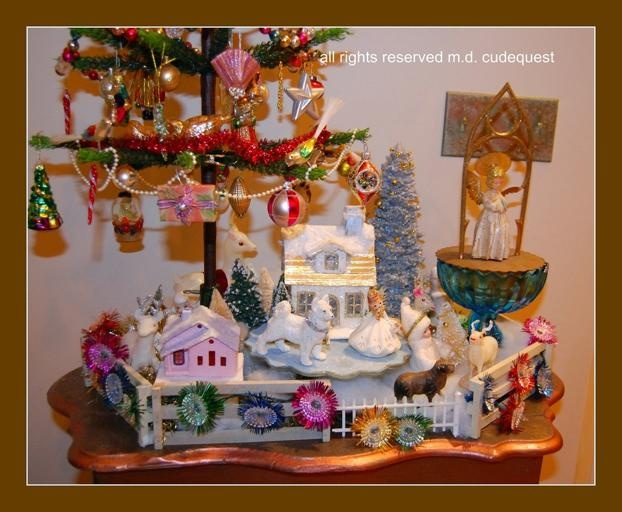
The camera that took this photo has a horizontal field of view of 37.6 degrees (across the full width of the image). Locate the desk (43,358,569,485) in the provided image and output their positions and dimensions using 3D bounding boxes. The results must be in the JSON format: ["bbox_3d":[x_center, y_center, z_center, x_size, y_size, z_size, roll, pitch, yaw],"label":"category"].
[{"bbox_3d":[-0.059,0.948,4.722,2.689,0.491,0.504,3,3,1],"label":"desk"}]
